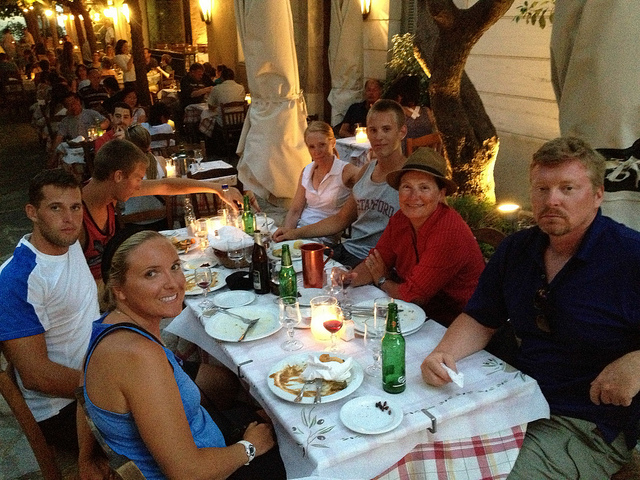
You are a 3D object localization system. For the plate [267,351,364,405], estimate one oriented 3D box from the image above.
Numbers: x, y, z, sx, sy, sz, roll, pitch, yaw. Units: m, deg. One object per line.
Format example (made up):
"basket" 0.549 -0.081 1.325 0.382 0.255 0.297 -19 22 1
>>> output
"plate" -0.005 0.608 1.875 0.405 0.053 0.395 0 14 20

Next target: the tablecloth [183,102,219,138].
"tablecloth" -2.407 -2.523 9.282 0.829 0.323 0.824 29 54 22

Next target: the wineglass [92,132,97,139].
"wineglass" -3.414 -1.585 6.562 0.066 0.075 0.149 -11 17 -24

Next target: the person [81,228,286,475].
"person" -0.598 0.520 1.980 0.662 1.007 0.505 -22 49 -24

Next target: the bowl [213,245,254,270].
"bowl" -0.586 0.108 2.899 0.223 0.124 0.204 0 9 0

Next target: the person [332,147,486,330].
"person" 0.529 -0.031 2.805 1.109 1.004 0.849 8 20 18

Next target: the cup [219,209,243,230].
"cup" -0.729 -0.179 3.516 0.196 0.180 0.193 2 10 0

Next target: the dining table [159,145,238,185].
"dining table" -1.471 -0.898 5.169 0.774 0.454 1.159 -16 19 -37

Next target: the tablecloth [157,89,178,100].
"tablecloth" -4.040 -3.823 11.436 0.457 0.308 0.954 -9 16 -19

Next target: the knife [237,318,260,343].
"knife" -0.373 0.472 2.251 0.030 0.028 0.199 -9 12 15

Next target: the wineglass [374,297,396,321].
"wineglass" 0.315 0.336 2.141 0.108 0.114 0.111 0 5 2
